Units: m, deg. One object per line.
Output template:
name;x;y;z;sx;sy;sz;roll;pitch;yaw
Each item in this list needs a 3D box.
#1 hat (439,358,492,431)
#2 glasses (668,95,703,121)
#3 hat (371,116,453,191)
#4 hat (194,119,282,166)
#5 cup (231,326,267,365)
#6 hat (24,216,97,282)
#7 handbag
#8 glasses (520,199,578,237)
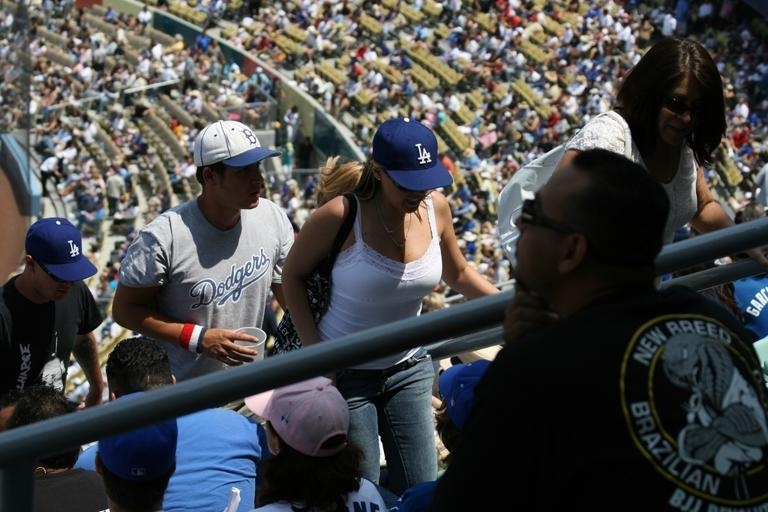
hat;0.349;0.622;4.881;0.105;0.420;0.383;-5;21;-21
glasses;1.383;-0.685;4.928;0.127;0.044;0.130;14;3;-18
hat;0.147;-0.523;5.190;0.324;0.214;0.484;-15;42;-30
hat;-0.822;-0.608;5.884;0.542;0.284;0.411;8;13;37
cup;-0.721;0.479;5.765;0.157;0.203;0.249;0;20;-9
hat;-1.834;-0.054;6.133;0.472;0.247;0.305;18;21;22
handbag;-0.432;0.305;5.225;0.292;0.473;0.158;12;21;24
glasses;0.602;-0.142;3.956;0.163;0.045;0.127;21;-8;11
